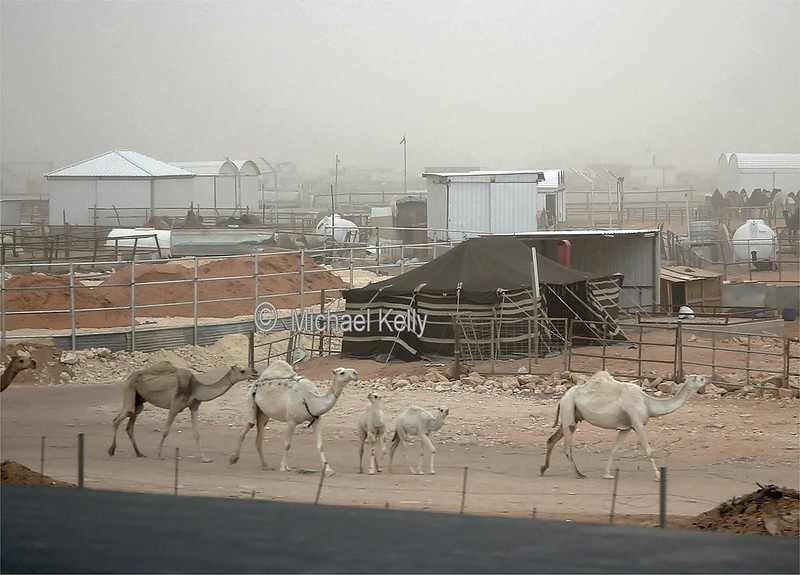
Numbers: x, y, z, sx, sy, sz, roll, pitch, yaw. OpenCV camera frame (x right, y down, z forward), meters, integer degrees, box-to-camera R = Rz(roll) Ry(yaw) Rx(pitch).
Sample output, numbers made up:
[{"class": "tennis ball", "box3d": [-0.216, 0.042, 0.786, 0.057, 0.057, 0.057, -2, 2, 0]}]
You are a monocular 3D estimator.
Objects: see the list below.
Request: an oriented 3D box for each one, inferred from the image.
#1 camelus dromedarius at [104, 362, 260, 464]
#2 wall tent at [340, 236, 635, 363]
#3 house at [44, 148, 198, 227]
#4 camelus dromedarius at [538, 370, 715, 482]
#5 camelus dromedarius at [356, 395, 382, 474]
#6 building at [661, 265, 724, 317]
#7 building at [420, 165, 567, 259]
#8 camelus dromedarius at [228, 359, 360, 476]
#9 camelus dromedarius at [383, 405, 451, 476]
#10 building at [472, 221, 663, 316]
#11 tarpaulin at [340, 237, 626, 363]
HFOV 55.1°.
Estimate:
[{"class": "camelus dromedarius", "box3d": [-3.328, 1.915, 11.664, 2.564, 1.275, 0.566, -3, -12, 21]}, {"class": "wall tent", "box3d": [2.405, 0.065, 21.240, 5.948, 2.370, 6.852, 1, 6, 31]}, {"class": "house", "box3d": [-12.649, -4.206, 34.419, 7.113, 3.371, 6.292, 1, 4, 10]}, {"class": "camelus dromedarius", "box3d": [3.044, 1.973, 10.910, 1.931, 1.603, 1.154, -4, 8, -19]}, {"class": "camelus dromedarius", "box3d": [-0.379, 2.152, 11.143, 0.407, 1.082, 1.574, 0, -14, -9]}, {"class": "building", "box3d": [10.029, 0.293, 25.315, 2.043, 0.963, 1.993, -23, -7, 37]}, {"class": "building", "box3d": [3.578, -3.253, 31.666, 7.210, 3.473, 6.360, 0, 3, 8]}, {"class": "camelus dromedarius", "box3d": [-1.530, 1.905, 11.122, 2.391, 1.488, 0.604, -5, -12, 39]}, {"class": "camelus dromedarius", "box3d": [0.307, 2.158, 10.837, 0.339, 0.919, 1.395, 15, -15, -34]}, {"class": "building", "box3d": [7.497, -0.633, 27.727, 7.737, 2.561, 6.722, -2, 4, -15]}, {"class": "tarpaulin", "box3d": [1.411, 0.073, 22.341, 7.186, 2.848, 7.790, -2, 2, 27]}]
